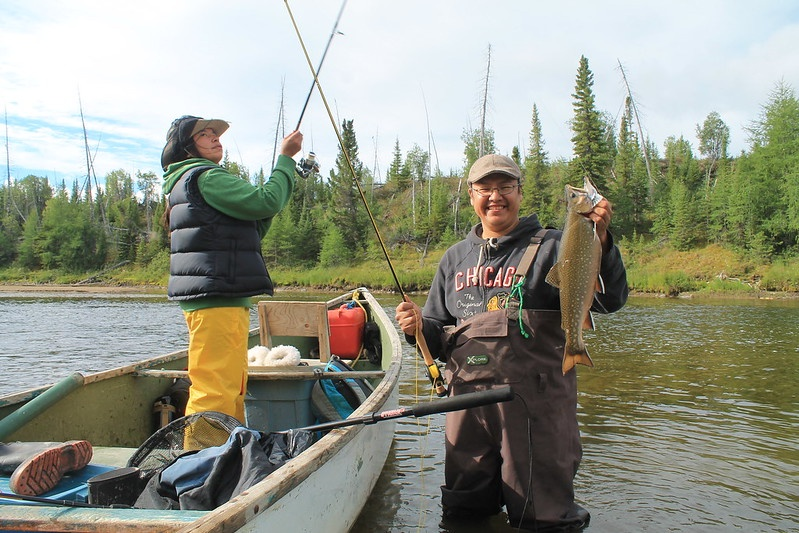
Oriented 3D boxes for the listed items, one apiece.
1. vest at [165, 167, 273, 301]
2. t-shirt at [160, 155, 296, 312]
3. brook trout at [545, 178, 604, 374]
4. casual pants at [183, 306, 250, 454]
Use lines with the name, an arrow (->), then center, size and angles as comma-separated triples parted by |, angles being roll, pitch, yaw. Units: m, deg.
vest -> -1.575, -0.195, 5.091 | 0.996, 1.275, 0.987 | -1, -5, -20
t-shirt -> -1.396, -0.251, 4.948 | 1.199, 1.240, 1.080 | -3, -6, -21
brook trout -> 1.159, 0.090, 3.877 | 0.361, 1.342, 0.405 | 0, 2, 14
casual pants -> -1.376, 0.765, 4.438 | 0.473, 0.916, 0.372 | -1, 2, -17
